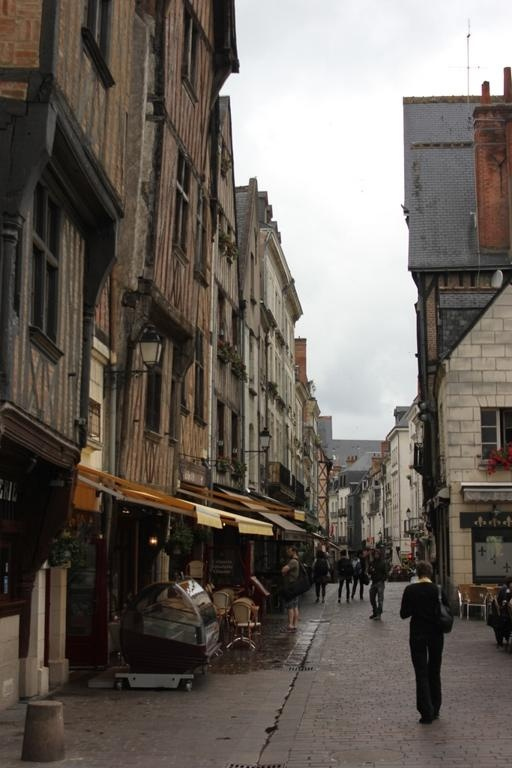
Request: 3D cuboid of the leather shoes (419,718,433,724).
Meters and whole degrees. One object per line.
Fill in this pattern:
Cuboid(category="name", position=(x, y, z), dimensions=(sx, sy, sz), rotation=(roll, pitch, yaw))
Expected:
Cuboid(category="leather shoes", position=(1.426, 2.823, 7.335), dimensions=(0.101, 0.042, 0.141), rotation=(-5, -16, 10))

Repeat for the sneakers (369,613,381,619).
Cuboid(category="sneakers", position=(2.743, 5.329, 20.044), dimensions=(0.241, 0.123, 0.254), rotation=(-4, -15, 7))

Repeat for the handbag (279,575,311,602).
Cuboid(category="handbag", position=(0.796, 3.908, 16.899), dimensions=(0.468, 0.583, 0.995), rotation=(-2, -15, 4))

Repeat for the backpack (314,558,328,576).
Cuboid(category="backpack", position=(2.090, 5.829, 27.954), dimensions=(0.416, 0.541, 0.772), rotation=(-2, -14, 3))

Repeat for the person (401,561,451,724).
Cuboid(category="person", position=(1.553, 2.306, 7.942), dimensions=(0.454, 1.360, 1.143), rotation=(-4, -14, 11))
